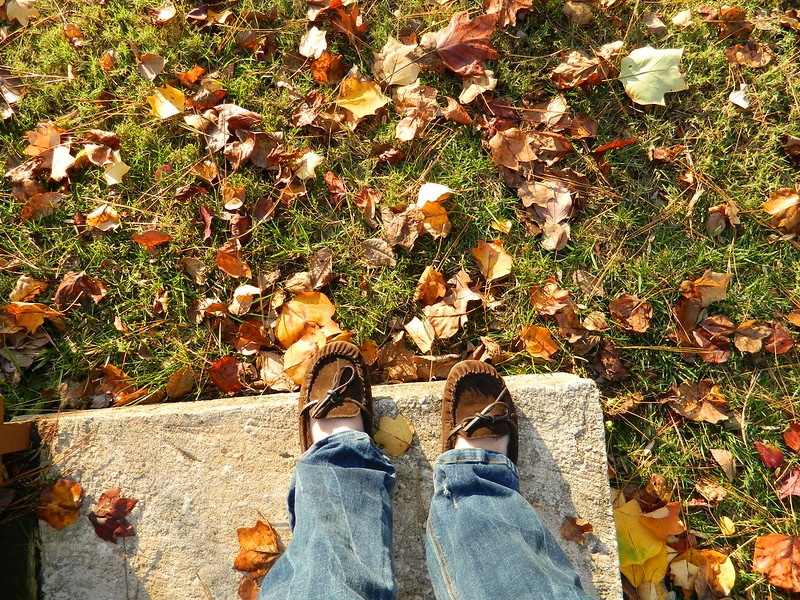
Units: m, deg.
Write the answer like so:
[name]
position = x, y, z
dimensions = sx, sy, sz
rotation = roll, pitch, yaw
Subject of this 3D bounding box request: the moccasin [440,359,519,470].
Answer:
[moccasin]
position = 0.313, 0.435, 2.703
dimensions = 0.222, 0.162, 0.461
rotation = 0, 85, 4
